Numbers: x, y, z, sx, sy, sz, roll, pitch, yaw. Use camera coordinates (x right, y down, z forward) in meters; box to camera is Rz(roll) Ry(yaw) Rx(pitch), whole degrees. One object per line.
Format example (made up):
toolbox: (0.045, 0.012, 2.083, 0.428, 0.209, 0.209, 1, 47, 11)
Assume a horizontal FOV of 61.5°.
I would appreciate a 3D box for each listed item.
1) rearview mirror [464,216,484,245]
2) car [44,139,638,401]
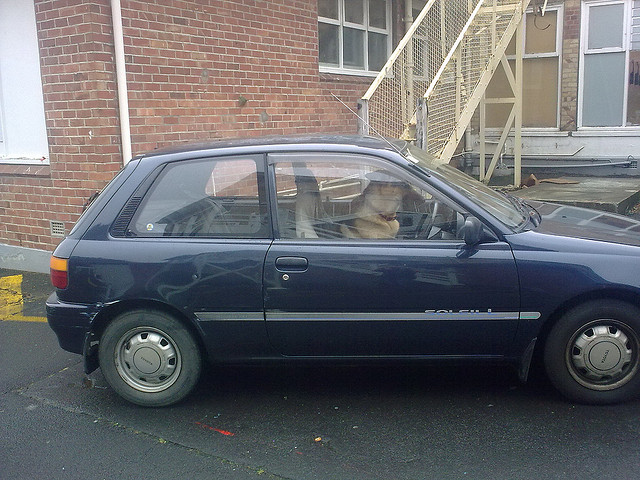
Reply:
rearview mirror: (1.059, -0.068, 3.722, 0.125, 0.175, 0.153, 2, 15, 16)
car: (0.137, 0.158, 4.420, 3.833, 1.431, 1.999, -1, 14, 4)
